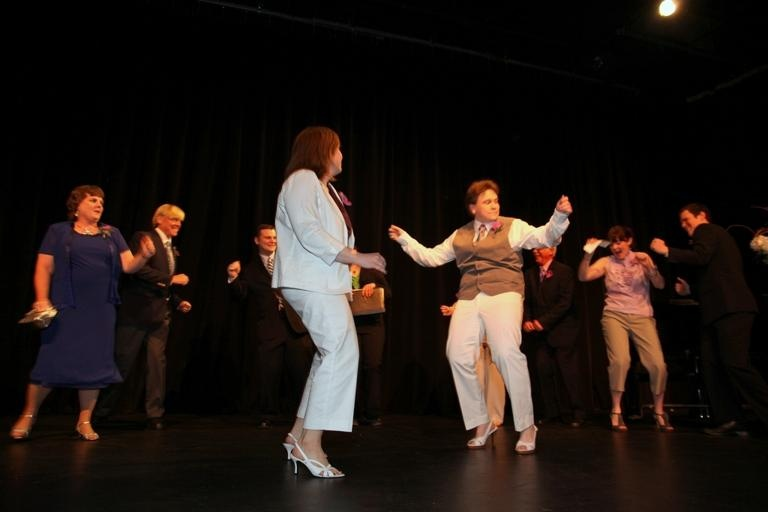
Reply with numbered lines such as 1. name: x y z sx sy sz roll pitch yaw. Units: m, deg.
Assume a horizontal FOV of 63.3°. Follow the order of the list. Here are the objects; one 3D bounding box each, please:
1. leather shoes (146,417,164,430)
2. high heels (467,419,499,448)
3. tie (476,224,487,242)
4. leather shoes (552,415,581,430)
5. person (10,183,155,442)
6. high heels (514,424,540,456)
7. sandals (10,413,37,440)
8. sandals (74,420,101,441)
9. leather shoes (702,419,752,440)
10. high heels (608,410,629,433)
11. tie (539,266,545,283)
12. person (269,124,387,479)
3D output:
1. leather shoes: -2.182 1.602 5.943 0.110 0.079 0.110 3 -16 -11
2. high heels: 0.887 1.527 5.376 0.142 0.182 0.371 -18 -12 42
3. tie: 0.855 -0.219 5.463 0.088 0.157 0.038 1 -33 30
4. leather shoes: 1.938 1.747 6.583 0.299 0.101 0.126 -3 -26 14
5. person: -2.697 0.459 5.549 0.845 2.267 0.515 8 -13 -30
6. high heels: 1.180 1.514 5.179 0.174 0.220 0.403 -2 -12 12
7. sandals: -3.090 1.454 5.316 0.164 0.215 0.174 8 -14 -30
8. sandals: -2.595 1.528 5.412 0.288 0.153 0.122 -9 -14 42
9. leather shoes: 3.178 1.608 5.786 0.387 0.169 0.155 2 -13 14
10. high heels: 2.353 1.665 6.238 0.110 0.128 0.327 -1 -19 5
11. tie: 1.816 0.193 7.111 0.032 0.131 0.080 14 -16 -30
12. person: -0.468 0.278 4.559 0.692 2.572 0.611 3 -12 -11
